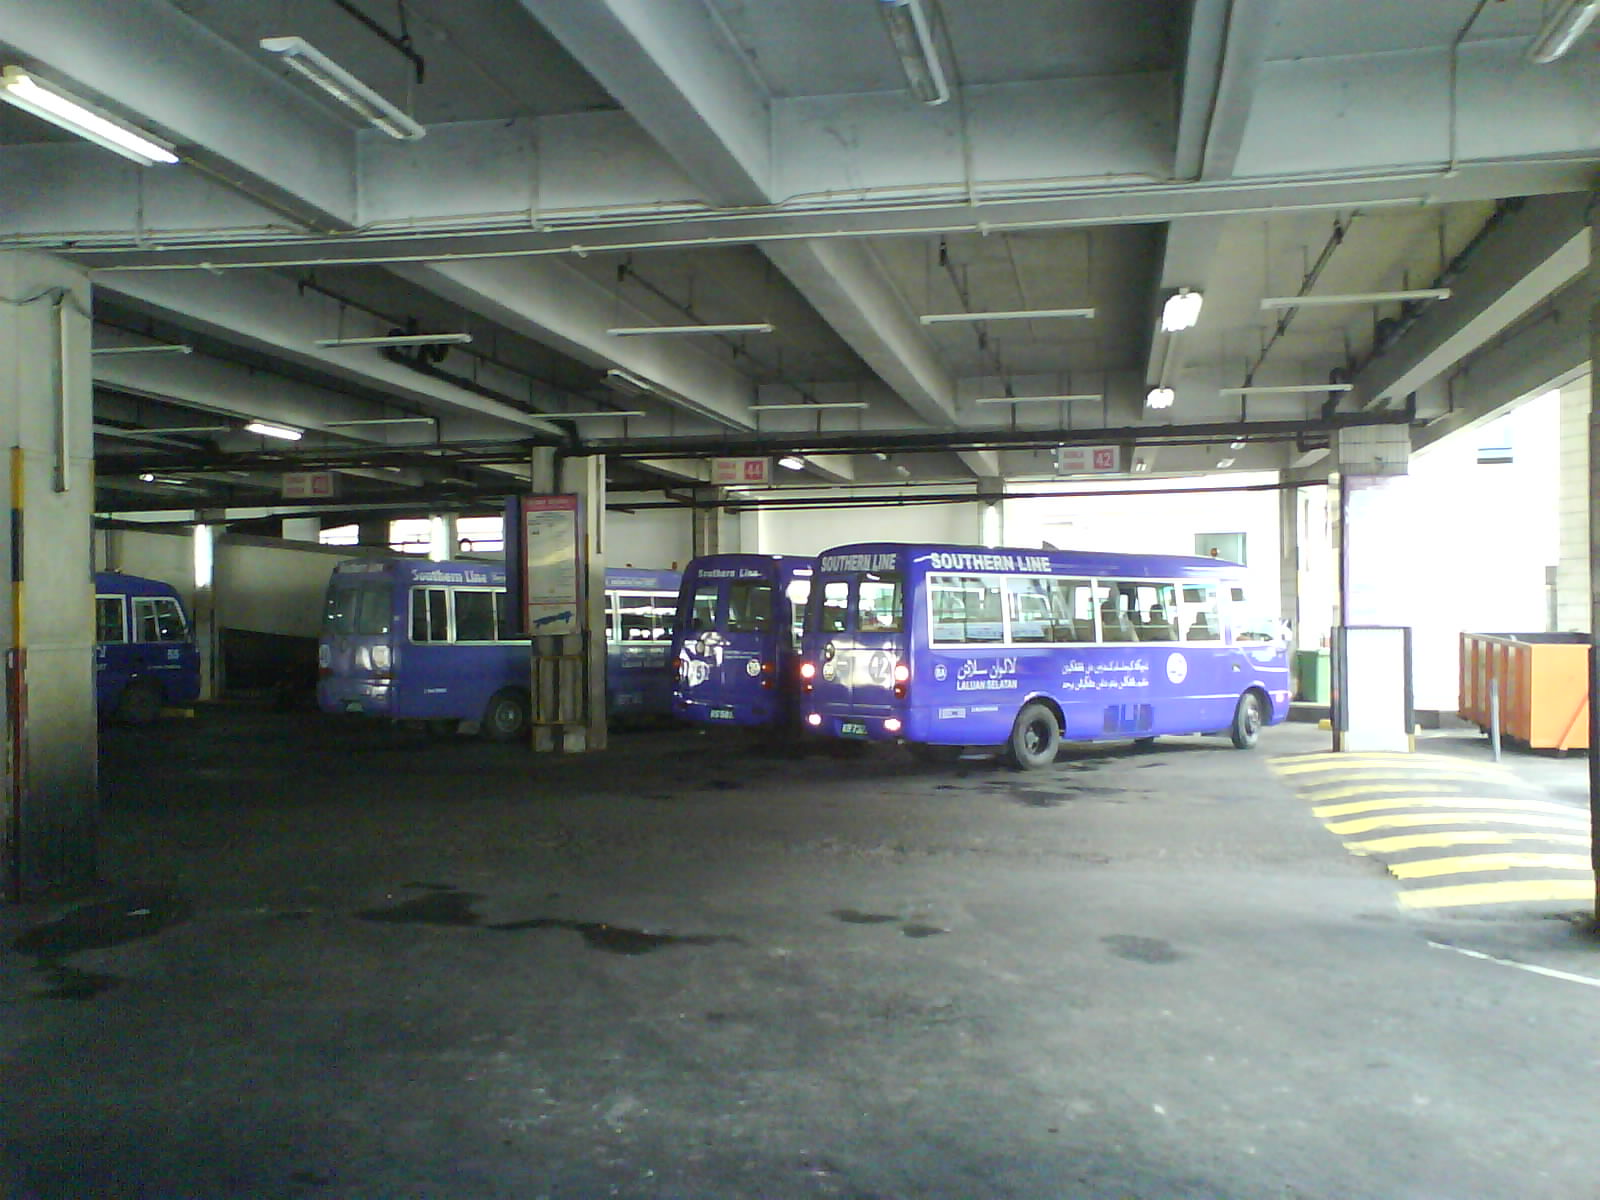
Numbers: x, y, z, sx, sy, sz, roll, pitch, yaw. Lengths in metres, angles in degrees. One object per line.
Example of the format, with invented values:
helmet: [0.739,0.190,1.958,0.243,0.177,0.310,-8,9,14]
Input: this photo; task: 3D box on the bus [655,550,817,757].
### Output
bus: [-2.236,0.630,23.808,2.566,2.886,4.551,7,-1,-31]

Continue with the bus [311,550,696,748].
bus: [-4.480,0.820,23.551,6.444,3.165,4.209,-3,8,-23]

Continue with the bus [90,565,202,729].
bus: [-12.583,0.891,27.585,0.678,2.822,2.110,4,8,24]
